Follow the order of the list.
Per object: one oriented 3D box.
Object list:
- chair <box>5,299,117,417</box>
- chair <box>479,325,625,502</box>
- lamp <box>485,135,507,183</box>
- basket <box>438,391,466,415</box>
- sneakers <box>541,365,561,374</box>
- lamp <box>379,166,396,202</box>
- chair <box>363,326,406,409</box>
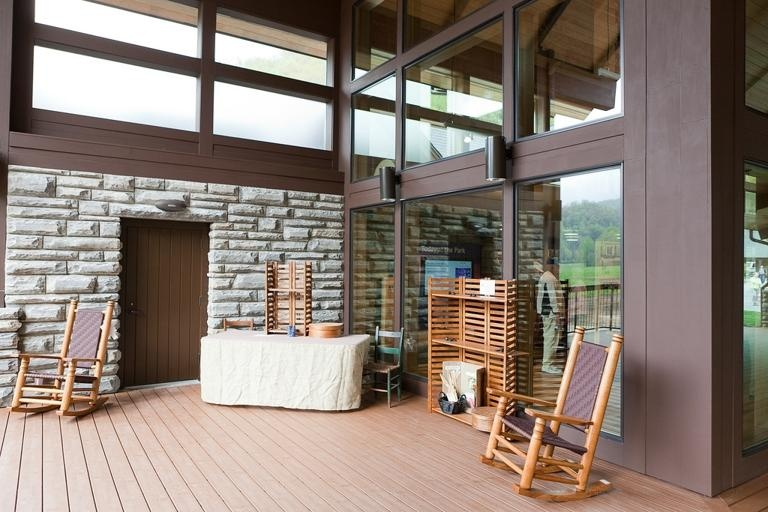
[{"bbox_3d":[-4.244,1.357,7.304,1.203,1.474,1.081,-2,10,-13],"label":"chair"},{"bbox_3d":[1.946,1.806,6.674,1.821,2.412,1.476,7,-6,-17],"label":"chair"},{"bbox_3d":[1.432,-1.249,6.896,0.289,0.545,0.240,2,11,5],"label":"lamp"},{"bbox_3d":[0.924,1.979,7.270,0.232,0.224,0.342,1,-2,-35],"label":"basket"},{"bbox_3d":[2.039,1.390,6.644,0.072,0.134,0.210,3,-7,-33],"label":"sneakers"},{"bbox_3d":[0.069,-1.111,8.333,0.237,0.493,0.112,0,11,-7],"label":"lamp"},{"bbox_3d":[0.014,1.555,8.229,0.571,1.047,1.551,1,10,2],"label":"chair"}]
